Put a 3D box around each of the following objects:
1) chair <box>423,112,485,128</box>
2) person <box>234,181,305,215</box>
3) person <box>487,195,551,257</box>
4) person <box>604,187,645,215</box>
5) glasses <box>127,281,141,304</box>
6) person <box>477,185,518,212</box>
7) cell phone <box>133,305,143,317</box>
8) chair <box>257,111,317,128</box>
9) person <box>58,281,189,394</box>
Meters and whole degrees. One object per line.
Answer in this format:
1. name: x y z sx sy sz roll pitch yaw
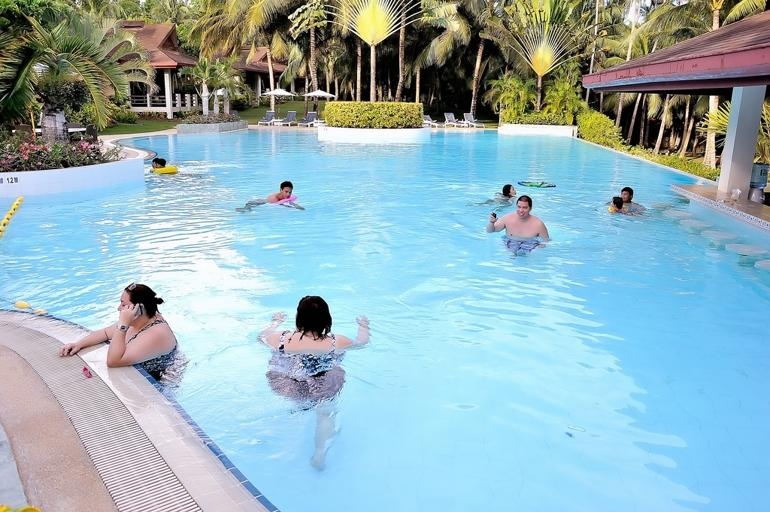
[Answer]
1. chair: 5.731 -11.379 37.519 4.930 1.135 1.900 -2 16 -8
2. person: -2.914 -1.501 11.793 1.161 0.392 1.139 8 16 22
3. person: 2.627 -0.696 8.912 0.995 1.043 0.929 12 20 36
4. person: 6.193 -1.378 11.489 0.853 0.435 0.853 7 14 34
5. glasses: -2.551 0.371 4.490 0.053 0.173 0.173 -4 21 -14
6. person: 3.167 -1.598 12.383 1.105 0.614 0.676 -15 27 -23
7. cell phone: -2.483 0.541 4.511 0.096 0.122 0.046 7 9 6
8. chair: -7.560 -10.964 35.808 4.410 1.169 2.567 -2 15 -8
9. person: -2.617 1.008 4.773 0.864 1.391 0.615 -11 30 -43
